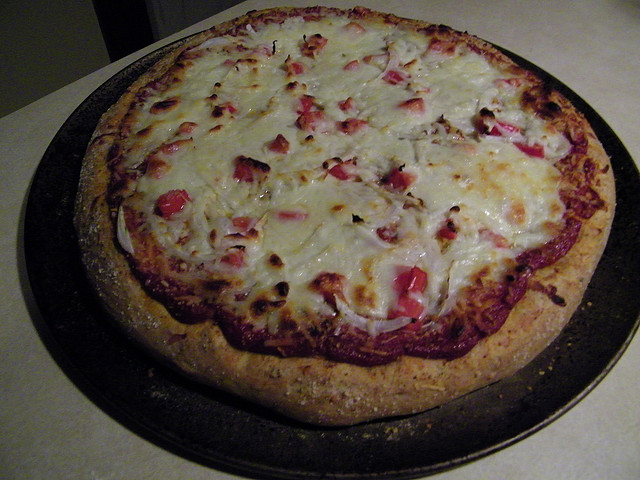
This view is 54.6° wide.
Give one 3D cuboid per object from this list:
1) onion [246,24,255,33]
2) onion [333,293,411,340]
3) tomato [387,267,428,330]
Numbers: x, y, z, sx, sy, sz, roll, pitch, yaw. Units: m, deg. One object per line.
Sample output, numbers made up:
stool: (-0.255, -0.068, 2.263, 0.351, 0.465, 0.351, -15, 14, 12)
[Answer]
onion: (-0.374, -1.136, 3.333, 0.044, 0.012, 0.049, -5, 44, -8)
onion: (0.189, 0.316, 2.470, 0.318, 0.070, 0.114, 17, 67, 5)
tomato: (0.337, 0.227, 2.516, 0.192, 0.228, 0.109, 0, 37, -6)
